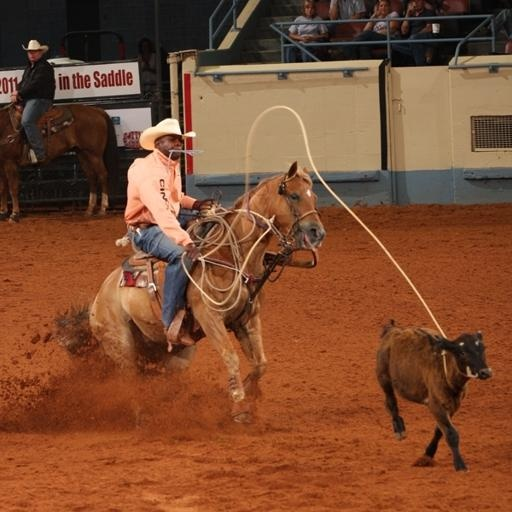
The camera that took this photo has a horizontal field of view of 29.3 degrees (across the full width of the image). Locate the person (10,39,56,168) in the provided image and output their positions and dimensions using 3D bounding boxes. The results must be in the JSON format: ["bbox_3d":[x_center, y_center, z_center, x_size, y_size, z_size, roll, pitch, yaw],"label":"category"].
[{"bbox_3d":[-4.287,-2.924,19.069,0.800,2.354,0.801,-3,13,-10],"label":"person"}]

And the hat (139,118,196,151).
[{"bbox_3d":[-0.820,-1.197,9.564,0.499,0.189,0.426,-5,7,43],"label":"hat"}]

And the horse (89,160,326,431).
[{"bbox_3d":[-0.580,0.606,9.624,0.904,2.123,3.331,13,-25,-43],"label":"horse"}]

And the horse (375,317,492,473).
[{"bbox_3d":[1.751,1.031,8.218,0.596,1.060,1.651,-3,4,-24],"label":"horse"}]
